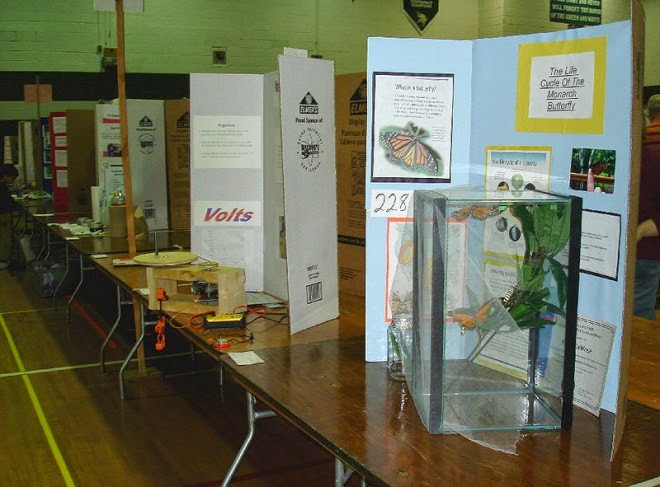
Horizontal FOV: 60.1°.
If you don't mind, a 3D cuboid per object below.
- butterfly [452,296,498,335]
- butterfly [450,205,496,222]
[{"bbox_3d":[0.369,0.186,1.464,0.081,0.087,0.091,2,9,1],"label":"butterfly"},{"bbox_3d":[0.368,-0.079,1.446,0.086,0.021,0.051,-3,43,-10],"label":"butterfly"}]
